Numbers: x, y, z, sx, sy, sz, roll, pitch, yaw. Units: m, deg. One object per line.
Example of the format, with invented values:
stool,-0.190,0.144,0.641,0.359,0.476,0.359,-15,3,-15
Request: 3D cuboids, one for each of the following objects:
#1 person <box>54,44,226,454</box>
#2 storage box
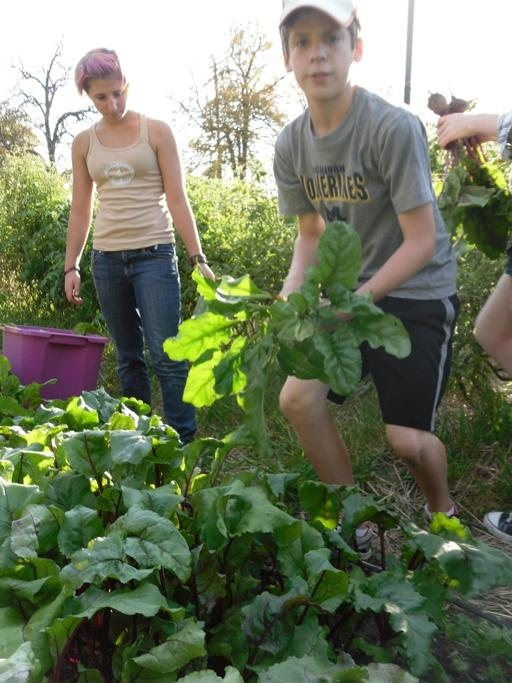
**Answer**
person,-0.685,-0.459,2.756,0.924,1.756,0.491,-4,6,45
storage box,-1.206,0.122,3.023,0.666,0.531,0.524,8,-6,-37
